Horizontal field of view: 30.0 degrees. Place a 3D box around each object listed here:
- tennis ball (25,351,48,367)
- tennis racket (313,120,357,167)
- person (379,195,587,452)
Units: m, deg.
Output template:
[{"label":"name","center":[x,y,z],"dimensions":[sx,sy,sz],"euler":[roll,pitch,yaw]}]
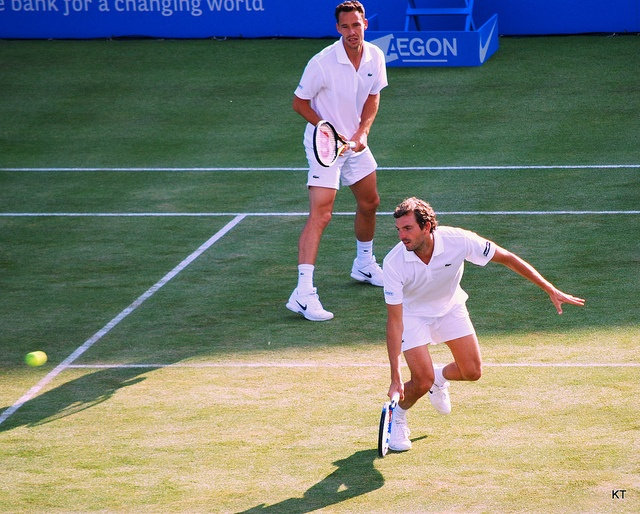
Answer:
[{"label":"tennis ball","center":[-2.717,0.980,11.511],"dimensions":[0.187,0.130,0.199],"euler":[-18,-10,-3]},{"label":"tennis racket","center":[0.109,-1.078,11.746],"dimensions":[0.291,0.541,0.606],"euler":[5,24,18]},{"label":"person","center":[0.937,0.517,10.371],"dimensions":[1.556,2.093,0.861],"euler":[-23,33,-34]}]
